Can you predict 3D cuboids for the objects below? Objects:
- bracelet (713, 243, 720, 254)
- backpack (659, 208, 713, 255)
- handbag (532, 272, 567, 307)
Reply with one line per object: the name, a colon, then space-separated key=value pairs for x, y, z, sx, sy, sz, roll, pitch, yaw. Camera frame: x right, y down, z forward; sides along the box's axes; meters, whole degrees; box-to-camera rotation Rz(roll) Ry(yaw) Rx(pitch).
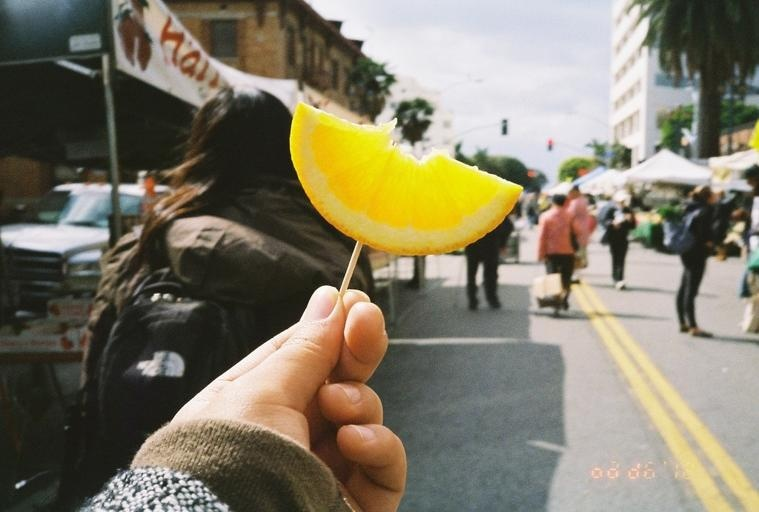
bracelet: x=2.928 y=-0.055 z=6.650 sx=0.031 sy=0.112 sz=0.029 roll=7 pitch=8 yaw=1
backpack: x=2.689 y=-0.207 z=6.713 sx=0.250 sy=0.424 sz=0.272 roll=9 pitch=22 yaw=35
handbag: x=1.668 y=0.356 z=7.554 sx=0.314 sy=0.268 sz=0.642 roll=3 pitch=7 yaw=10
